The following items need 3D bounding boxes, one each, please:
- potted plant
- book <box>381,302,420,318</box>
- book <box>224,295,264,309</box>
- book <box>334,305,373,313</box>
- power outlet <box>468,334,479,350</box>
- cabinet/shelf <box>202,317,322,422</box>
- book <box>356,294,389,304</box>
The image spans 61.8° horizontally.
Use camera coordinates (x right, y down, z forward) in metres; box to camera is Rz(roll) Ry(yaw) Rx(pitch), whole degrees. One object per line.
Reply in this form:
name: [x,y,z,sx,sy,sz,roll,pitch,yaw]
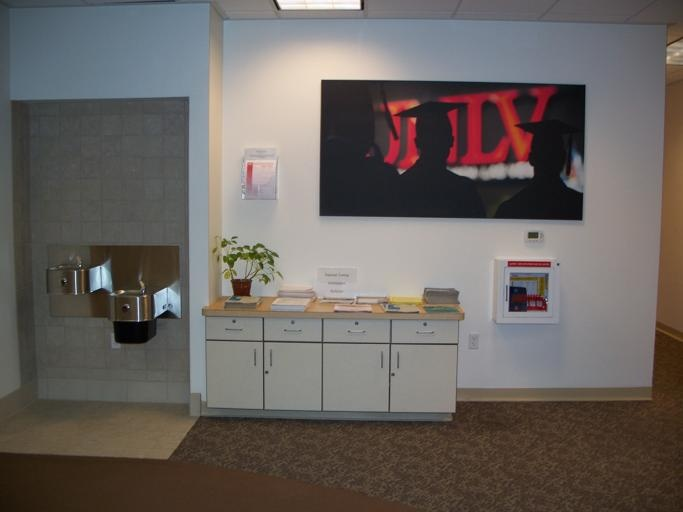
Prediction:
potted plant: [-0.860,0.039,5.283,0.523,0.416,0.541,3,2,35]
book: [0.530,0.468,5.014,0.315,0.067,0.254,5,10,5]
book: [-0.864,0.405,5.053,0.318,0.081,0.223,2,10,-8]
book: [0.112,0.458,5.014,0.337,0.029,0.232,4,10,-1]
power outlet: [1.247,0.807,5.392,0.123,0.194,0.018,1,5,1]
cabinet/shelf: [-0.658,0.956,4.972,0.809,0.767,0.330,0,-1,2]
book: [0.290,0.400,5.240,0.298,0.041,0.261,4,10,-1]
